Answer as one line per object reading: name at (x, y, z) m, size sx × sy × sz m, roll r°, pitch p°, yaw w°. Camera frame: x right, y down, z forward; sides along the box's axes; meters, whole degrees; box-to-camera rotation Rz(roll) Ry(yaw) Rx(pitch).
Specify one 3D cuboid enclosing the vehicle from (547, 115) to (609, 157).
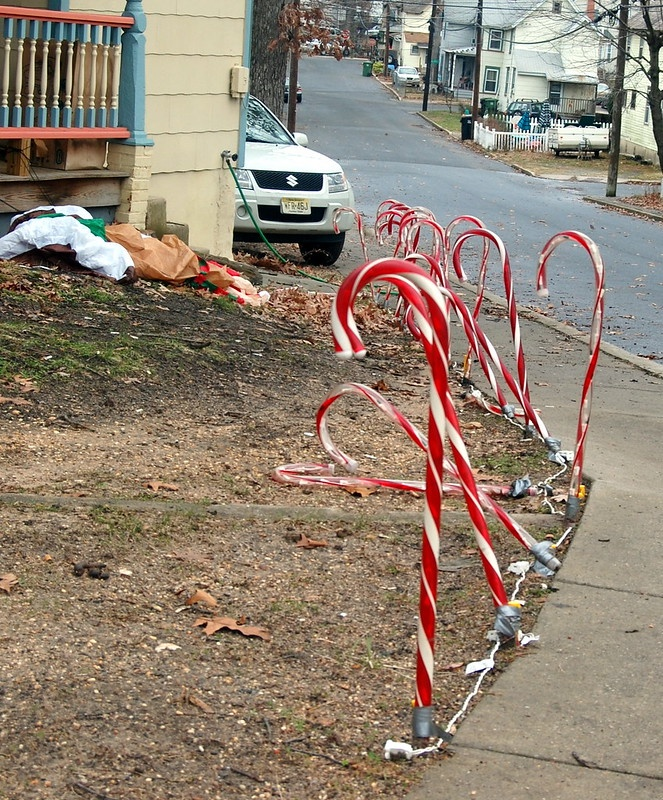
vehicle at (8.534, -9.128, 45.684) m, size 2.103 × 1.530 × 3.304 m, roll -1°, pitch 15°, yaw -3°

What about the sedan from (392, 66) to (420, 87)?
sedan at (4.904, -21.075, 83.931) m, size 1.447 × 0.984 × 2.435 m, roll -2°, pitch 17°, yaw -6°
